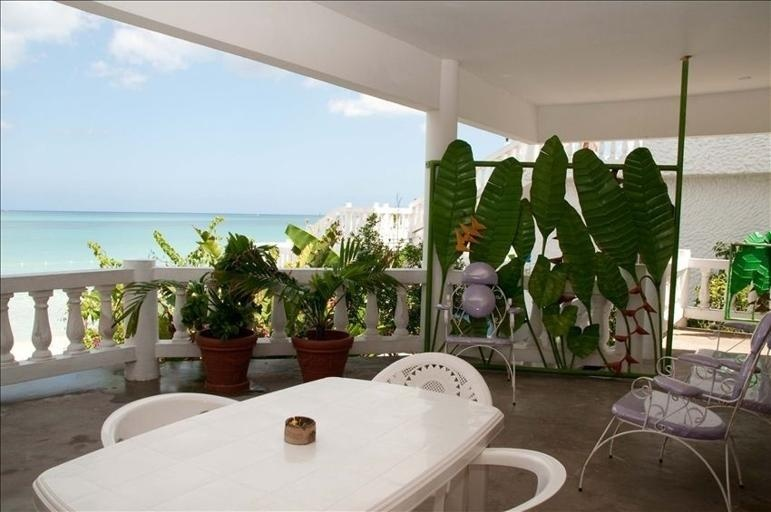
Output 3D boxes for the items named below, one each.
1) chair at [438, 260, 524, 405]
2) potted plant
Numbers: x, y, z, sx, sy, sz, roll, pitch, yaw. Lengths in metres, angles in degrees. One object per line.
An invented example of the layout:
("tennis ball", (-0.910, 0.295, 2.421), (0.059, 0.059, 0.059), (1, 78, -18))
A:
("chair", (0.978, 0.703, 5.425), (1.167, 1.718, 1.125), (0, -2, 13))
("potted plant", (-1.113, 0.452, 4.761), (1.783, 0.841, 1.755), (-3, 6, -27))
